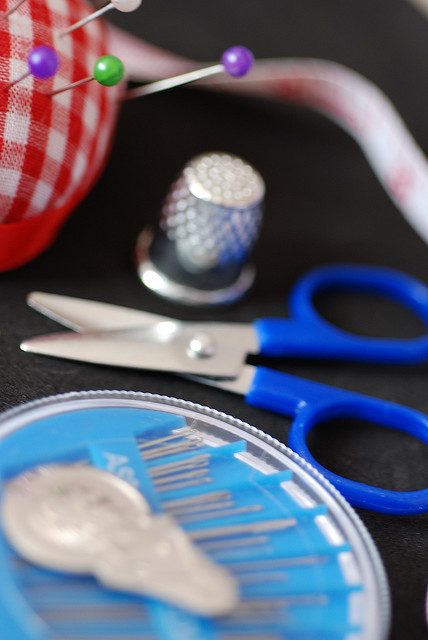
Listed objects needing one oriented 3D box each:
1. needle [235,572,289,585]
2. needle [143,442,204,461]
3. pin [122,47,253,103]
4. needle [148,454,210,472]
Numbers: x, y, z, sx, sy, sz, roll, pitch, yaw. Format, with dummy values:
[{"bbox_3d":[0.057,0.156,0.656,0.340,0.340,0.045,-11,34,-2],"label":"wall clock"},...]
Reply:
[{"bbox_3d":[0.020,0.114,0.282,0.025,0.003,0.005,3,36,-24],"label":"needle"},{"bbox_3d":[-0.023,0.069,0.335,0.034,0.003,0.004,-11,11,-22],"label":"needle"},{"bbox_3d":[-0.021,-0.160,0.419,0.094,0.016,0.017,-10,28,13],"label":"pin"},{"bbox_3d":[-0.020,0.074,0.331,0.033,0.004,0.004,-10,58,-26],"label":"needle"}]
